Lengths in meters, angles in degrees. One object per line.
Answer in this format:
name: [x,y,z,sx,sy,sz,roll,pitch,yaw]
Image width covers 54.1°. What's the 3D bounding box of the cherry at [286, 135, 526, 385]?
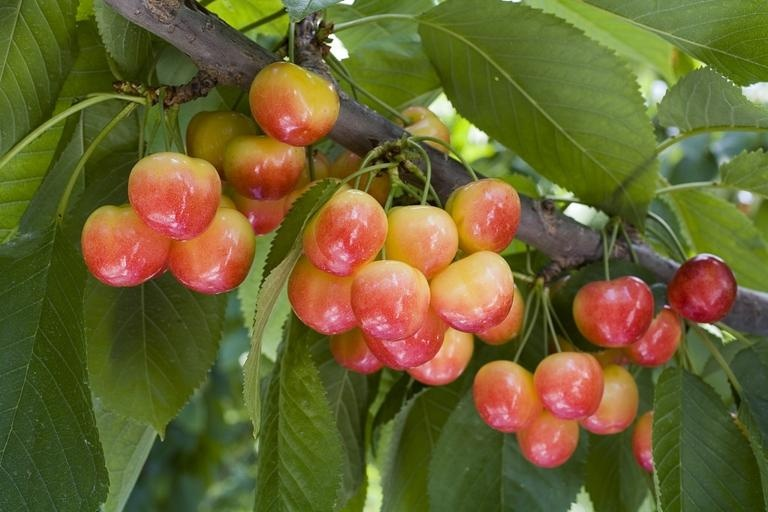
cherry: [0.043,0.030,1.123,0.305,0.377,0.272,11,28,19]
